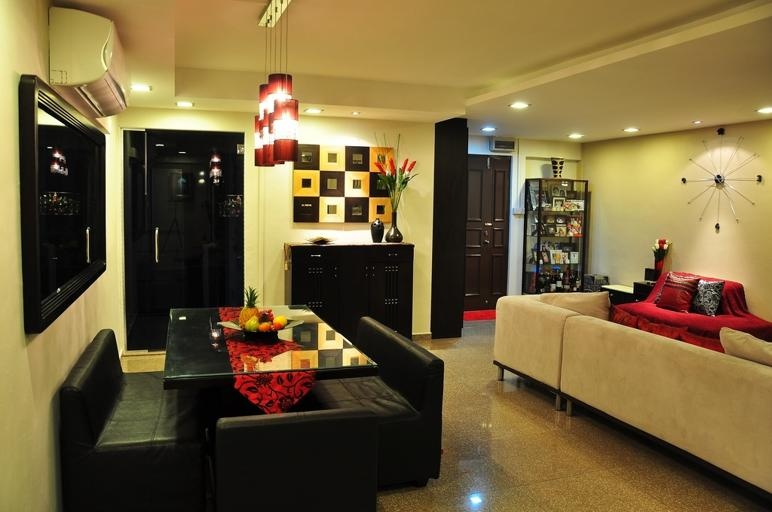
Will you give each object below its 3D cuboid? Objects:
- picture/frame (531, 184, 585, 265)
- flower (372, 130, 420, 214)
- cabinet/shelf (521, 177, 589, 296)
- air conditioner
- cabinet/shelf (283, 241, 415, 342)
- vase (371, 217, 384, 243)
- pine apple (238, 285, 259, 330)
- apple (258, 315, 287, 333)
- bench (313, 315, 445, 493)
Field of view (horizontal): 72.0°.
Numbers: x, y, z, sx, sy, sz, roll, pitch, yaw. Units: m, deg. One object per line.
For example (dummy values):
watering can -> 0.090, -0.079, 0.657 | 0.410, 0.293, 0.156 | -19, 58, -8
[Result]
picture/frame -> 2.914, -0.580, 9.059 | 1.039, 1.473, 0.363 | 1, 9, -12
flower -> 0.117, -1.050, 6.984 | 0.566, 0.864, 0.447 | -5, 7, -38
cabinet/shelf -> 2.832, -0.172, 8.846 | 0.886, 2.098, 0.486 | -1, -5, 13
air conditioner -> -1.973, -1.309, 3.502 | 0.254, 0.411, 0.804 | 0, 4, -10
cabinet/shelf -> -0.478, 0.362, 6.174 | 1.160, 1.102, 0.453 | -2, 9, -17
vase -> -0.114, -0.332, 6.826 | 0.151, 0.304, 0.177 | 2, 9, -9
pine apple -> -1.060, 0.416, 4.159 | 0.140, 0.316, 0.136 | 3, 4, -34
apple -> -0.871, 0.516, 4.045 | 0.153, 0.063, 0.092 | -6, 0, -43
bench -> -0.340, 1.230, 4.287 | 0.730, 0.953, 1.372 | 5, -4, -43
